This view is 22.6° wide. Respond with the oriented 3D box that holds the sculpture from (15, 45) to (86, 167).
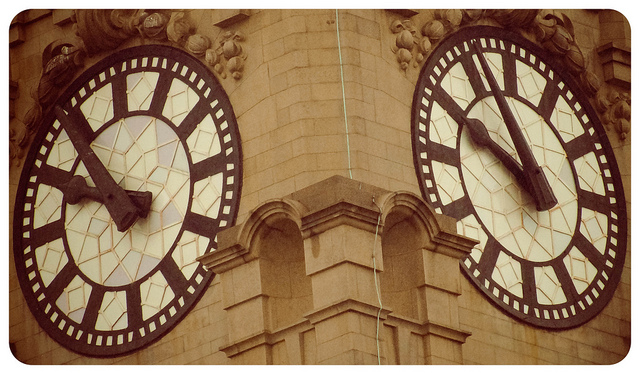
[{"bbox_3d":[-4.343,-1.509,27.362,0.777,0.823,3.122,22,-32,-3],"label":"sculpture"}]
